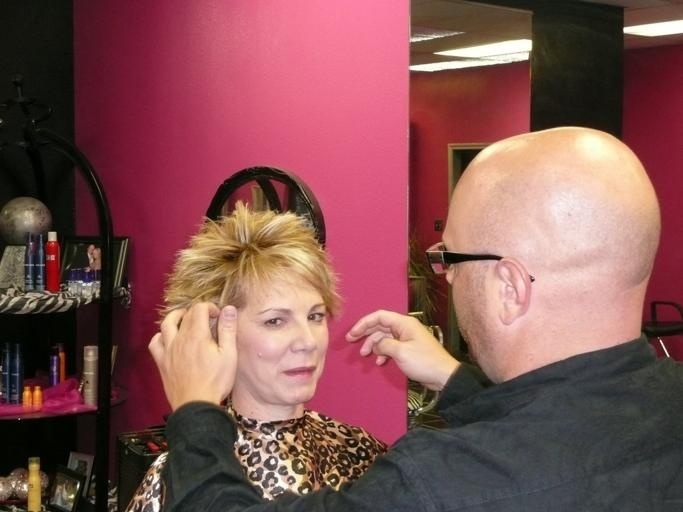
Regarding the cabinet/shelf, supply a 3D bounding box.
[{"bbox_3d":[-1.120,0.258,3.038,0.388,1.606,0.279,-1,-2,4],"label":"cabinet/shelf"}]
